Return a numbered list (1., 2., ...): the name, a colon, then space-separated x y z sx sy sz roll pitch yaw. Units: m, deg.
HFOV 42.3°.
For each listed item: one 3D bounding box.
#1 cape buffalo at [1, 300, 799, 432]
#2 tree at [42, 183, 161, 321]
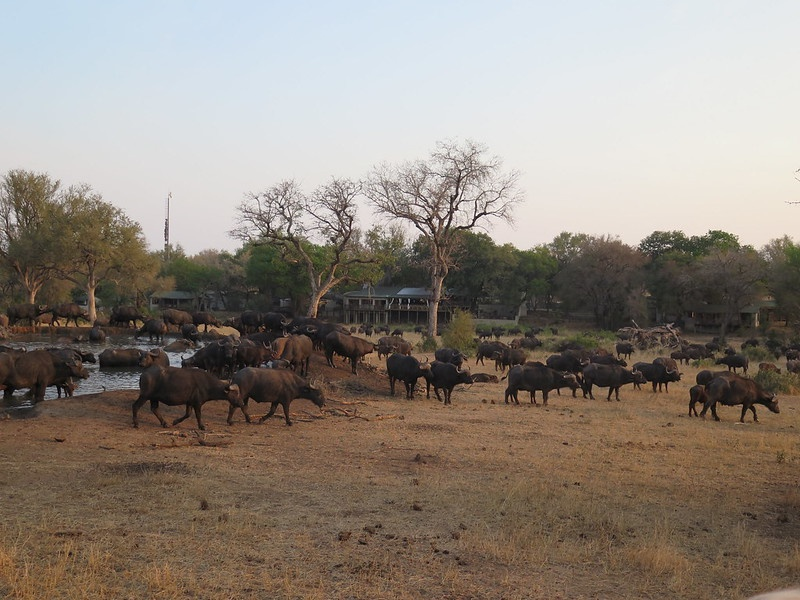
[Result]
1. cape buffalo: -2.463 3.125 46.486 38.481 3.374 28.379 2 -3 3
2. tree: -21.841 -2.771 73.310 8.797 10.502 8.058 5 -1 -17
